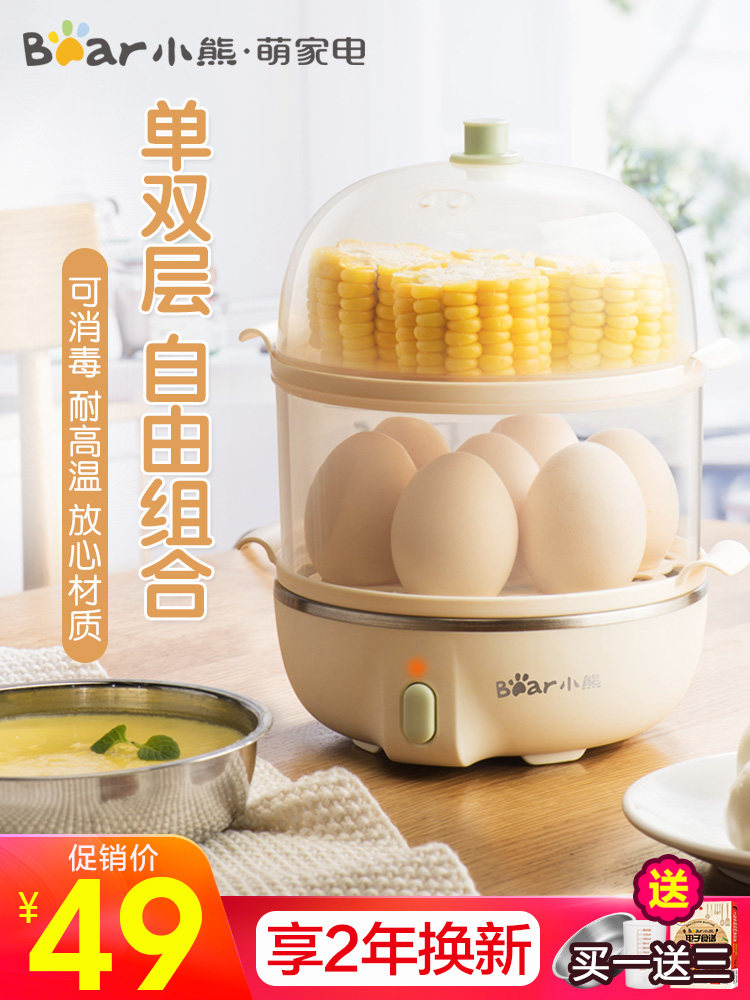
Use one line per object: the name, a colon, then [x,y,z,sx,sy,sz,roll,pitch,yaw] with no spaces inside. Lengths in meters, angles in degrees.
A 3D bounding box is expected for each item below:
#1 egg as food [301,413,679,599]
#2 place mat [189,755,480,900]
egg as food: [0.070,0.008,0.706,0.166,0.067,0.166,1,2,28]
place mat: [-0.024,0.199,0.620,0.090,0.017,0.109,-6,19,-6]
